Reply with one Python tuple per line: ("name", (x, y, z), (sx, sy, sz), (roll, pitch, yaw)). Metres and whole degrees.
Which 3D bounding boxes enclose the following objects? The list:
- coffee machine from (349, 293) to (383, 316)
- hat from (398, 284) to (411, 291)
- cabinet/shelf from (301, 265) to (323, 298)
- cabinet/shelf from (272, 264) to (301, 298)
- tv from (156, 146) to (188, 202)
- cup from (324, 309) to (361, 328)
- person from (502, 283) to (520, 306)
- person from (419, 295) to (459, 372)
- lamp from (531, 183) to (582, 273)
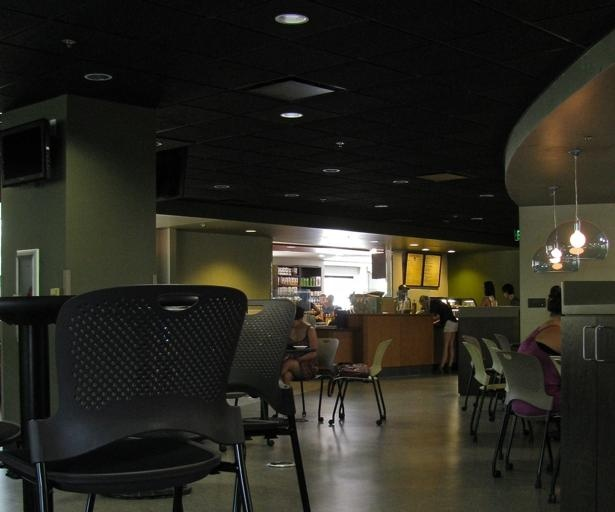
("coffee machine", (1.166, 1.061, 11.173), (0.674, 0.461, 0.359), (1, -9, -6))
("hat", (2.465, 0.785, 14.476), (0.387, 0.162, 0.282), (1, -2, -8))
("cabinet/shelf", (0.097, 0.862, 19.365), (1.046, 1.156, 0.382), (6, -9, -42))
("cabinet/shelf", (-0.665, 0.889, 18.957), (0.740, 1.197, 0.283), (3, -35, -7))
("tv", (-1.523, -0.962, 6.292), (0.062, 0.607, 0.477), (9, 12, 41))
("cup", (0.692, 1.104, 11.096), (0.577, 0.572, 0.303), (-1, -3, 37))
("person", (4.804, 0.866, 13.278), (0.389, 0.615, 0.845), (-3, -5, 37))
("person", (2.865, 1.693, 12.221), (0.725, 1.574, 1.235), (2, -3, 11))
("lamp", (3.341, -0.339, 7.481), (0.724, 1.231, 0.736), (-10, -13, 33))
